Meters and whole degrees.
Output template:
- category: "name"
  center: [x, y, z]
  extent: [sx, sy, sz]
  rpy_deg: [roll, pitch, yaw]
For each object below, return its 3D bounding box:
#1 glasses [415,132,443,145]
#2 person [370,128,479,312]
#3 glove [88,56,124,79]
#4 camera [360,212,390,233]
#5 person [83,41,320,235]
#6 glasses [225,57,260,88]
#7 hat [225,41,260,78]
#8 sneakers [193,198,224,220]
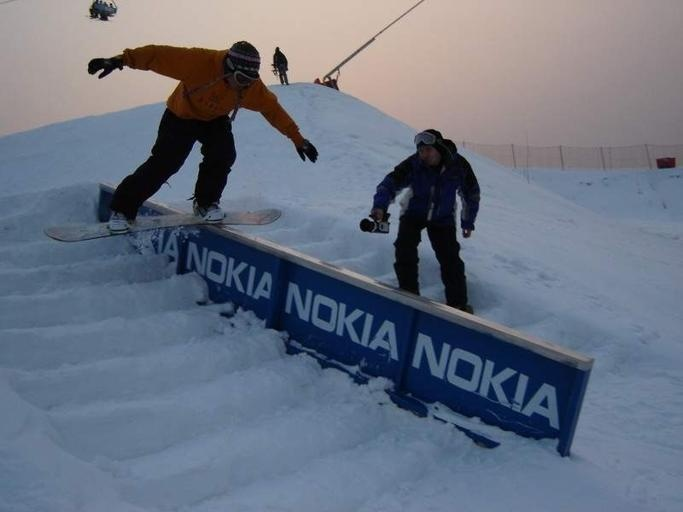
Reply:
- category: "glasses"
  center: [0.707, -0.970, 4.461]
  extent: [0.229, 0.131, 0.267]
  rpy_deg: [9, 14, 16]
- category: "person"
  center: [0.752, -0.313, 4.628]
  extent: [1.037, 1.505, 0.821]
  rpy_deg: [3, 13, -8]
- category: "glove"
  center: [-1.787, -1.412, 3.988]
  extent: [0.225, 0.183, 0.241]
  rpy_deg: [8, 13, 13]
- category: "camera"
  center: [0.231, -0.272, 4.253]
  extent: [0.308, 0.225, 0.111]
  rpy_deg: [0, 7, -41]
- category: "person"
  center: [-1.187, -0.963, 4.453]
  extent: [1.495, 1.560, 0.642]
  rpy_deg: [4, 12, -3]
- category: "glasses"
  center: [-0.775, -1.434, 4.200]
  extent: [0.235, 0.123, 0.189]
  rpy_deg: [43, 42, 21]
- category: "hat"
  center: [-0.762, -1.520, 4.149]
  extent: [0.260, 0.267, 0.267]
  rpy_deg: [1, 13, -14]
- category: "sneakers"
  center: [-1.176, -0.411, 4.669]
  extent: [0.336, 0.162, 0.126]
  rpy_deg: [16, 12, 34]
